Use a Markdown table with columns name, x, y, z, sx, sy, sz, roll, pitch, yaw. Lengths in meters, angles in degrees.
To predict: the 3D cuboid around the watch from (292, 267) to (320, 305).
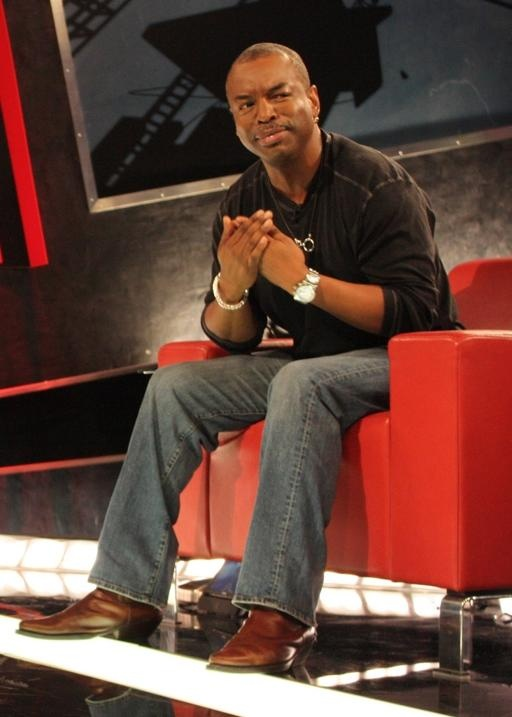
| name | x | y | z | sx | sy | sz | roll | pitch | yaw |
| --- | --- | --- | --- | --- | --- | --- | --- | --- | --- |
| watch | 0.097 | -0.142 | 1.316 | 0.048 | 0.071 | 0.068 | 28 | 13 | 1 |

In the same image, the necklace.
| name | x | y | z | sx | sy | sz | roll | pitch | yaw |
| --- | --- | --- | --- | --- | --- | --- | --- | --- | --- |
| necklace | 0.080 | -0.321 | 1.521 | 0.095 | 0.166 | 0.047 | -30 | 4 | 20 |
